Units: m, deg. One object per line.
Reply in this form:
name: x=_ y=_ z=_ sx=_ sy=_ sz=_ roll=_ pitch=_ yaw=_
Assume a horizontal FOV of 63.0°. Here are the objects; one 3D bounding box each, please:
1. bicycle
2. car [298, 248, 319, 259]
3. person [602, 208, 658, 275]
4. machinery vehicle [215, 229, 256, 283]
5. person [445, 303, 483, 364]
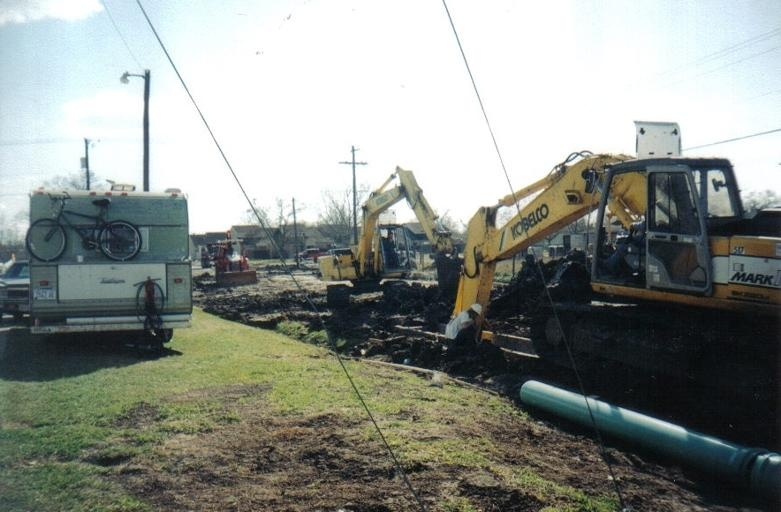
bicycle: x=-6.276 y=-0.519 z=12.969 sx=2.162 sy=1.368 sz=1.055 roll=-1 pitch=-9 yaw=-24
car: x=-8.861 y=-0.022 z=65.576 sx=2.361 sy=1.142 sz=1.389 roll=2 pitch=2 yaw=3
person: x=4.425 y=-0.080 z=11.406 sx=0.638 sy=1.163 sz=1.072 roll=0 pitch=4 yaw=-20
machinery vehicle: x=-9.220 y=0.105 z=36.009 sx=2.143 sy=2.678 sz=6.551 roll=5 pitch=-1 yaw=-20
person: x=1.673 y=1.781 z=14.531 sx=0.784 sy=1.423 sz=0.580 roll=-5 pitch=-31 yaw=41
